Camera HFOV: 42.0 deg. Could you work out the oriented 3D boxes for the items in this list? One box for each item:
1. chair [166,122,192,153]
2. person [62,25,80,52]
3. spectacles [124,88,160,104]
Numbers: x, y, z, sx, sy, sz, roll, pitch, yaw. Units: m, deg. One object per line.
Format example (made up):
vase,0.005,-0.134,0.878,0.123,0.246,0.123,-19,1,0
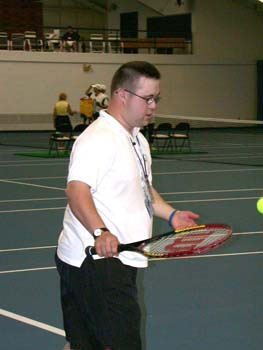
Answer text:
chair,1.986,-1.656,14.745,1.024,1.241,1.078,0,9,6
person,-4.422,-9.889,25.043,1.285,1.647,1.056,-4,6,-14
spectacles,0.059,-0.310,1.378,0.194,0.064,0.088,-6,12,-34
